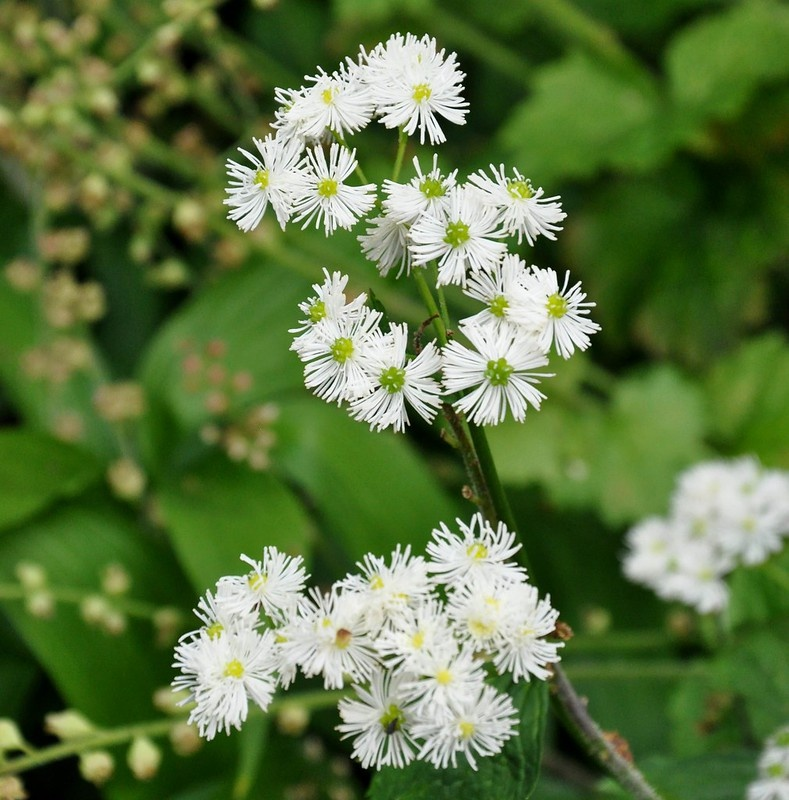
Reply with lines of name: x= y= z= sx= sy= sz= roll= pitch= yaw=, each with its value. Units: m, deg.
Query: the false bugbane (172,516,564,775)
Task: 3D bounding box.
false bugbane: x=-0.039 y=0.208 z=0.832 sx=0.217 sy=0.135 sz=0.222 roll=16 pitch=45 yaw=12
